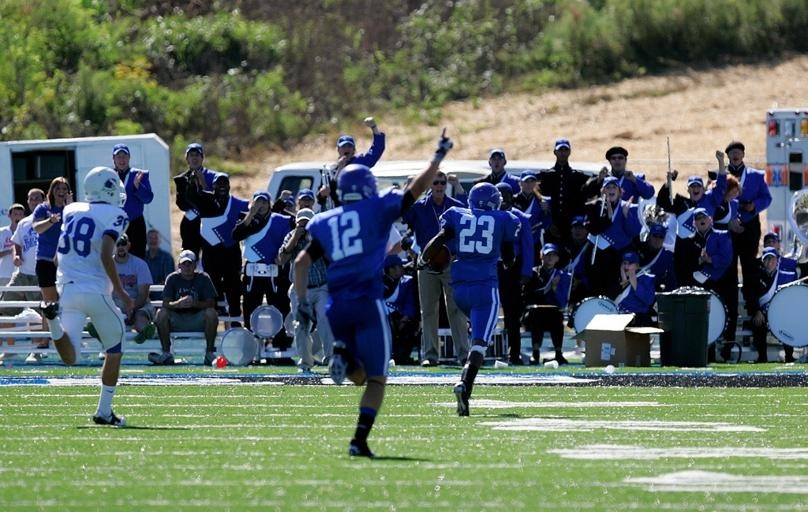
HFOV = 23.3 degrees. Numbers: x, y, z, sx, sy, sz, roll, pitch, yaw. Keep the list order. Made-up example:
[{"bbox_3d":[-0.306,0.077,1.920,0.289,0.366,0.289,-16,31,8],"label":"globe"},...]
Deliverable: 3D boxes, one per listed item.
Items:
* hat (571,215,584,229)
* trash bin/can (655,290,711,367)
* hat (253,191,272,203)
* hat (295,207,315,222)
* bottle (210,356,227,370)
[{"bbox_3d":[4.594,-0.945,51.648,0.387,0.262,0.610,4,32,12],"label":"hat"},{"bbox_3d":[7.216,1.830,50.636,0.971,1.889,1.415,1,-1,-5],"label":"trash bin/can"},{"bbox_3d":[-3.690,-1.584,51.217,0.406,0.277,0.632,3,4,2],"label":"hat"},{"bbox_3d":[-2.534,-1.086,50.182,0.542,0.371,0.738,1,0,-2],"label":"hat"},{"bbox_3d":[-4.812,2.740,50.957,0.327,0.309,0.176,-19,9,4],"label":"bottle"}]
